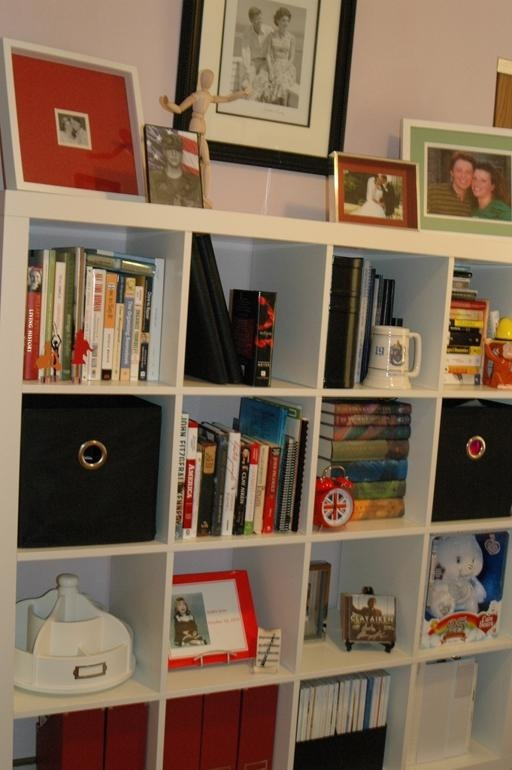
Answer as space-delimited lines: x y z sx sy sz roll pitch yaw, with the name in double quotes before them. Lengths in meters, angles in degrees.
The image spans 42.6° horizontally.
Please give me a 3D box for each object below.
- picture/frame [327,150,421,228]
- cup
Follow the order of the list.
"picture/frame" 0.253 -0.422 1.431 0.227 0.184 0.032 2 -5 -28
"cup" 0.286 -0.064 1.460 0.136 0.155 0.120 2 2 -10
